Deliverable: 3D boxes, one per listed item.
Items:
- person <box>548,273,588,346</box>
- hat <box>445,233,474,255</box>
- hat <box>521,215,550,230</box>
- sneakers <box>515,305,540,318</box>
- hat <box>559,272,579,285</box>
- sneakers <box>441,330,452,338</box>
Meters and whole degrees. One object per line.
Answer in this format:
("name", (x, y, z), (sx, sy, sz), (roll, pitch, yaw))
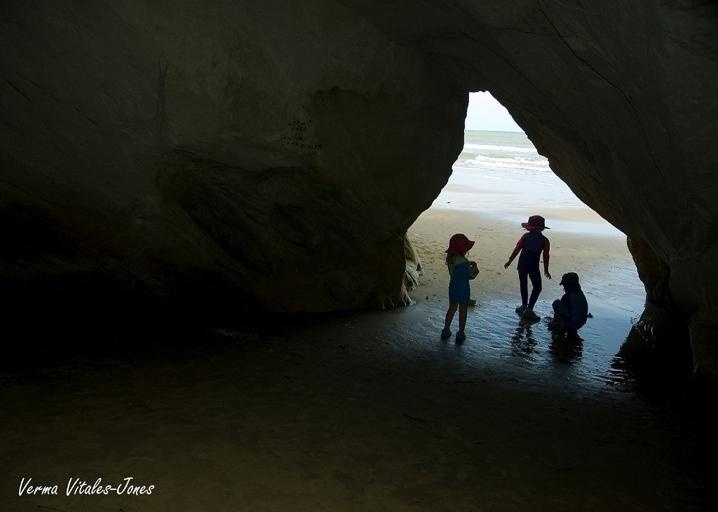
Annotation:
("person", (2.444, 0.553, 6.361), (0.424, 0.723, 0.507), (3, 12, 22))
("hat", (1.138, -0.134, 6.080), (0.250, 0.265, 0.393), (1, 12, 14))
("hat", (2.171, -0.400, 6.747), (0.246, 0.216, 0.321), (1, 12, 13))
("sneakers", (2.113, 0.703, 6.751), (0.304, 0.141, 0.117), (10, 12, 24))
("hat", (2.462, 0.258, 6.393), (0.154, 0.118, 0.224), (0, 6, 14))
("sneakers", (0.961, 0.861, 6.015), (0.049, 0.102, 0.143), (3, 8, 34))
